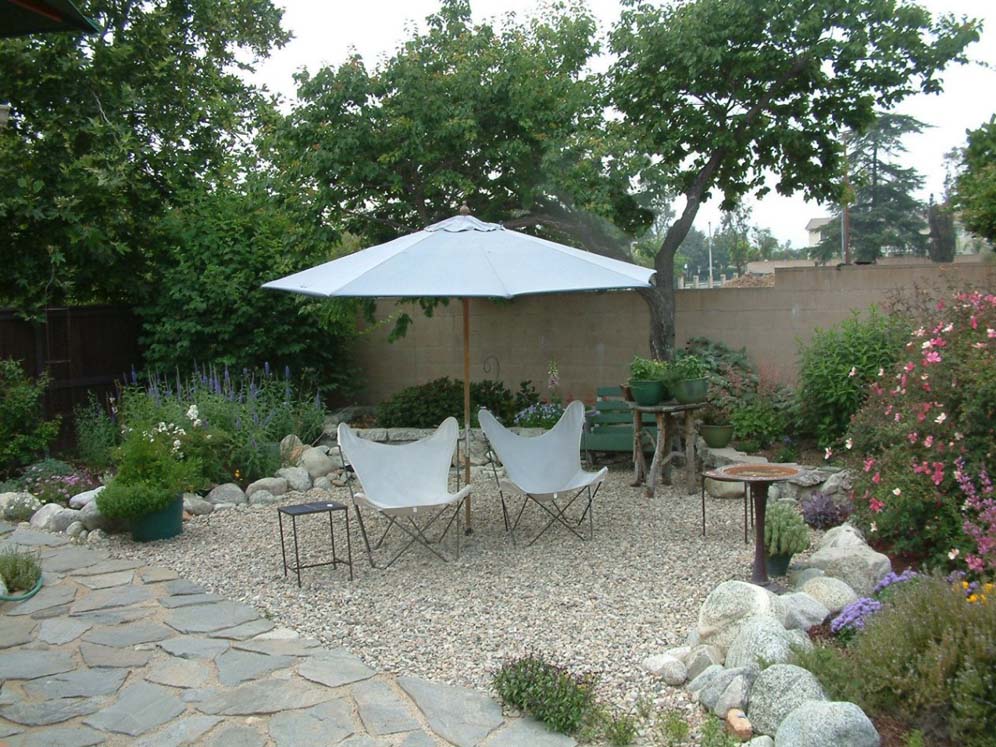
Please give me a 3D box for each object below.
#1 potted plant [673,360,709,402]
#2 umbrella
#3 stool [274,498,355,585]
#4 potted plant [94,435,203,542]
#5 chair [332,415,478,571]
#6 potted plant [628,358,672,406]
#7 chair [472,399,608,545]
[{"bbox_3d":[1.934,0.085,9.410,0.344,0.445,0.387,1,-4,-2],"label":"potted plant"},{"bbox_3d":[-0.371,-0.080,10.190,2.842,2.923,3.019,-2,10,-4],"label":"umbrella"},{"bbox_3d":[-1.488,1.398,7.568,0.523,0.573,0.433,-1,-1,-39],"label":"stool"},{"bbox_3d":[-3.167,1.008,8.445,0.800,0.964,0.874,1,-2,0],"label":"potted plant"},{"bbox_3d":[-0.734,1.012,7.866,1.143,1.244,1.125,-4,2,-32],"label":"chair"},{"bbox_3d":[1.567,0.096,9.647,0.429,0.498,0.424,0,-3,-2],"label":"potted plant"},{"bbox_3d":[0.411,0.879,8.189,1.128,1.190,1.237,-3,4,33],"label":"chair"}]
